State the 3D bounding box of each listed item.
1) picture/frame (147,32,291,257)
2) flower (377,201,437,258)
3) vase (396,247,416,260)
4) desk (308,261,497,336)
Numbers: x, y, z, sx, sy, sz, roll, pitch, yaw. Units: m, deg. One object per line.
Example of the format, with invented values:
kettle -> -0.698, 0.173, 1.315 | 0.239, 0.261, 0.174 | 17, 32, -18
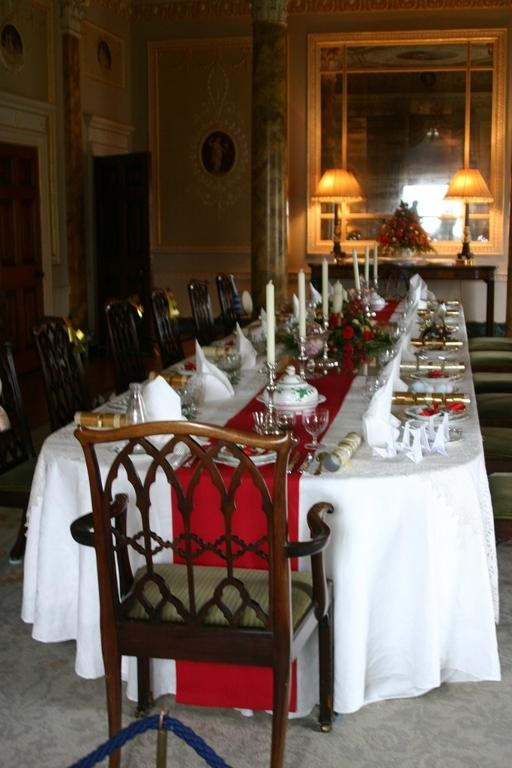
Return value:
picture/frame -> -0.777, -3.398, 8.415 | 1.510, 2.881, 0.402 | -2, 14, 12
flower -> 2.004, -1.976, 7.787 | 0.661, 0.810, 0.717 | 4, 12, 30
vase -> 2.044, -1.787, 8.094 | 0.210, 0.146, 0.225 | 6, 15, 26
desk -> 2.281, -1.060, 7.632 | 1.432, 1.006, 0.528 | 0, -1, 18
